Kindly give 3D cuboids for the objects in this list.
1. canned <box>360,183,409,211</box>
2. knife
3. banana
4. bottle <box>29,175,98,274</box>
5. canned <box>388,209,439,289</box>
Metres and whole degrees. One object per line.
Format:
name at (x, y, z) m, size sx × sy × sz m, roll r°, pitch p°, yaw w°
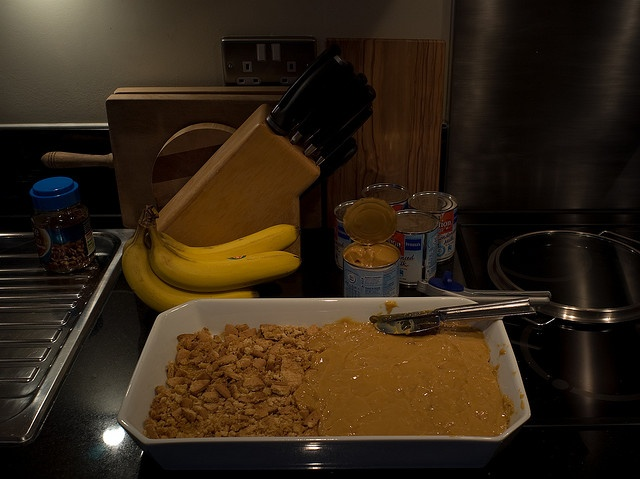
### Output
canned at (0.160, -0.105, 1.232) m, size 0.082 × 0.033 × 0.083 m, roll -25°, pitch 42°, yaw -24°
knife at (-0.002, -0.268, 1.096) m, size 0.197 × 0.261 × 0.059 m, roll 33°, pitch 20°, yaw -23°
banana at (-0.226, 0.010, 1.159) m, size 0.356 × 0.241 × 0.208 m, roll -4°, pitch 17°, yaw -4°
bottle at (-0.615, -0.028, 1.190) m, size 0.131 × 0.232 × 0.136 m, roll 3°, pitch 30°, yaw -2°
canned at (0.217, 0.023, 1.202) m, size 0.139 × 0.167 × 0.147 m, roll -2°, pitch 33°, yaw -2°
